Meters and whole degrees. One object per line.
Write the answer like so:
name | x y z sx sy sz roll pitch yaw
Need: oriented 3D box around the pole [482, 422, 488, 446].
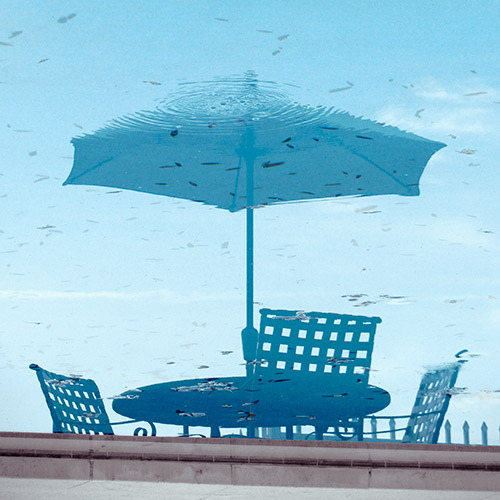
pole | 1.053 0.796 7.361 0.022 0.091 0.037 3 10 2

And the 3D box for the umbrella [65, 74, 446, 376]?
umbrella | 0.026 -0.340 8.283 1.963 1.388 1.491 -1 42 1

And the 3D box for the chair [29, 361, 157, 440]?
chair | -0.674 0.626 7.669 0.476 0.287 0.560 -10 -29 -5

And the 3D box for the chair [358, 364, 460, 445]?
chair | 0.746 0.679 7.420 0.264 0.179 0.336 19 52 10

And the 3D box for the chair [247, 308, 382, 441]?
chair | 0.310 0.543 7.548 0.763 0.537 0.633 2 -1 0
